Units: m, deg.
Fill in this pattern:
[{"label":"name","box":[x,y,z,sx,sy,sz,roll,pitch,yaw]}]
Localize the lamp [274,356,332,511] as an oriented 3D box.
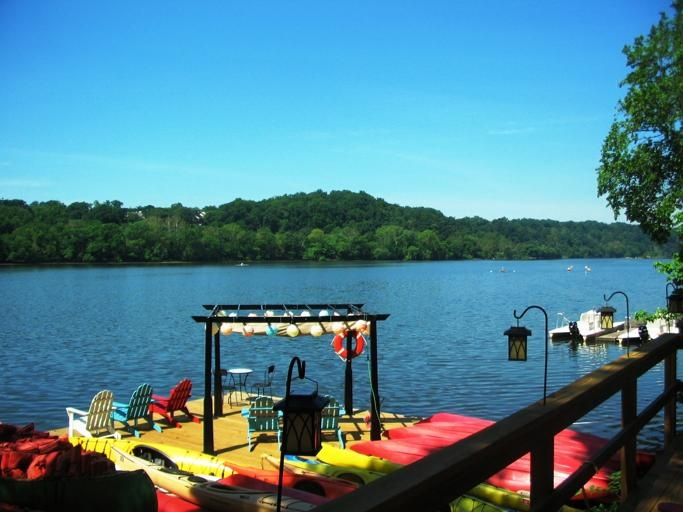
[{"label":"lamp","box":[-0.385,1.779,6.187,0.530,1.560,0.826,-2,1,-7]}]
